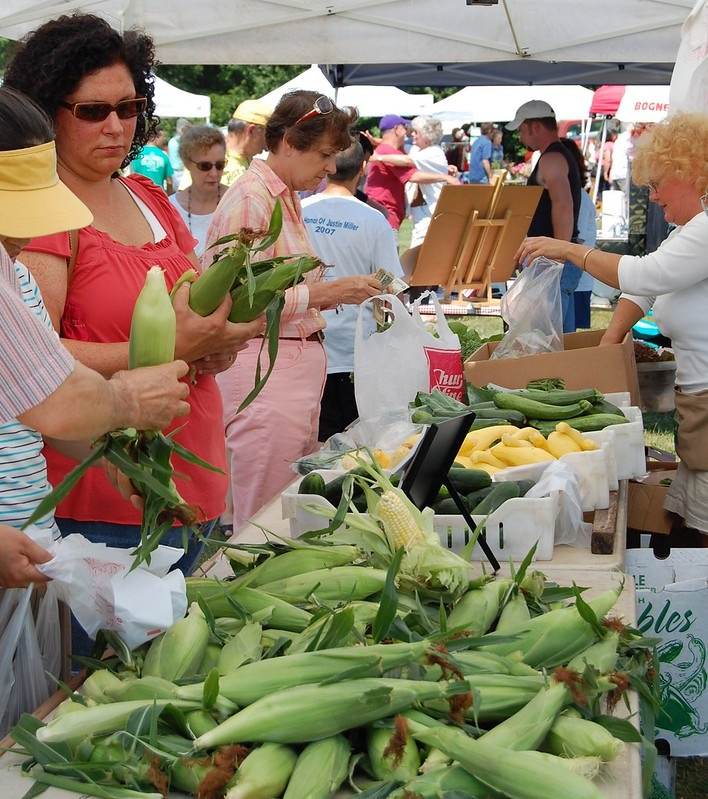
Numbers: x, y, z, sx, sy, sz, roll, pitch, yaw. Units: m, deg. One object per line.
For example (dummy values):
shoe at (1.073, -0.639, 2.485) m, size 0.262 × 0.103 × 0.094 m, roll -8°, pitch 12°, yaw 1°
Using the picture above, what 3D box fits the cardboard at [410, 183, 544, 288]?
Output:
cardboard at (1.171, -1.448, 7.056) m, size 1.572 × 1.186 × 0.182 m, roll -11°, pitch 38°, yaw -40°

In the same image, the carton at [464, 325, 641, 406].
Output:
carton at (0.942, -0.138, 3.473) m, size 0.629 × 0.309 × 0.553 m, roll -2°, pitch 4°, yaw 15°

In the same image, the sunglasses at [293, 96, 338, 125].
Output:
sunglasses at (-0.150, -1.240, 3.143) m, size 0.156 × 0.042 × 0.144 m, roll -21°, pitch 17°, yaw 19°

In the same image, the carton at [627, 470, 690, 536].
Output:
carton at (1.466, 0.481, 3.347) m, size 0.255 × 0.280 × 0.425 m, roll 6°, pitch -8°, yaw -2°

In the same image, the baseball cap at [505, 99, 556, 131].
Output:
baseball cap at (1.629, -2.600, 6.744) m, size 0.421 × 0.204 × 0.280 m, roll 6°, pitch 25°, yaw 23°

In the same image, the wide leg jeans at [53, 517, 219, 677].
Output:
wide leg jeans at (-0.601, 0.514, 2.054) m, size 0.135 × 0.427 × 0.526 m, roll 4°, pitch -2°, yaw 10°

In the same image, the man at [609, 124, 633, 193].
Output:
man at (4.768, -4.335, 13.102) m, size 0.318 × 0.297 × 1.094 m, roll 38°, pitch -9°, yaw 31°

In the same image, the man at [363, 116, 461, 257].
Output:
man at (0.797, -2.406, 8.615) m, size 0.995 × 1.716 × 1.192 m, roll -28°, pitch 41°, yaw -35°
